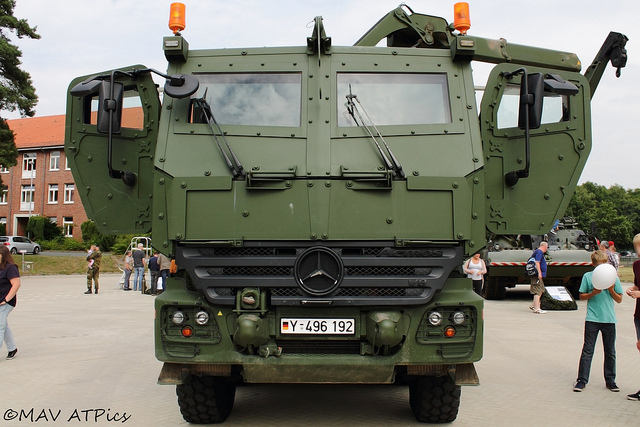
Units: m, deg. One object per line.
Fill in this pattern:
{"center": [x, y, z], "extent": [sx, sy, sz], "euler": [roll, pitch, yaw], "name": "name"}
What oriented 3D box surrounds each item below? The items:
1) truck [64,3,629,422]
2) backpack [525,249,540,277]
{"center": [0.322, -0.166, 10.000], "extent": [5.708, 4.232, 6.097], "euler": [0, -9, 1], "name": "truck"}
{"center": [5.963, 1.450, 16.334], "extent": [0.322, 0.823, 0.534], "euler": [1, 5, 23], "name": "backpack"}
